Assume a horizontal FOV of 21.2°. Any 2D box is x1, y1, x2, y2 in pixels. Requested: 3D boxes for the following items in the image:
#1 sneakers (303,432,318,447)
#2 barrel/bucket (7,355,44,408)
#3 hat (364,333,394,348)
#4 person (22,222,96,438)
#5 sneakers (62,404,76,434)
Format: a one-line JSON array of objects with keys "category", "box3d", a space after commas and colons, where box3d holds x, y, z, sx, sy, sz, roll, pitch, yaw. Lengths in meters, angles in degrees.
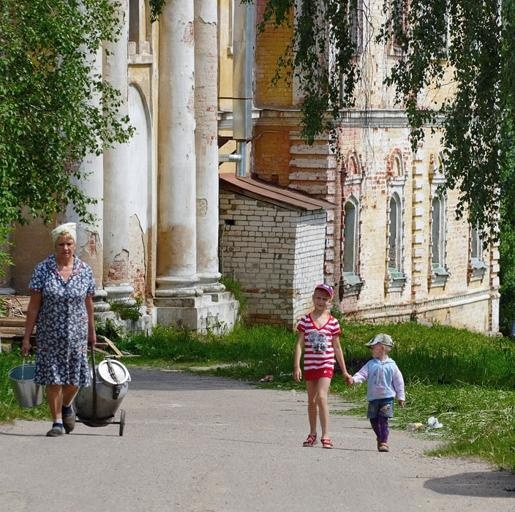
[{"category": "sneakers", "box3d": [0.475, 1.635, 12.292, 0.073, 0.105, 0.232, -1, -8, 10]}, {"category": "barrel/bucket", "box3d": [-2.080, 1.047, 12.290, 0.244, 0.509, 0.332, 2, 19, 8]}, {"category": "hat", "box3d": [1.077, 0.727, 12.084, 0.181, 0.122, 0.153, 7, -10, 6]}, {"category": "person", "box3d": [-1.682, 0.610, 11.696, 0.629, 1.589, 0.405, 0, 0, -13]}, {"category": "sneakers", "box3d": [-1.622, 1.384, 11.837, 0.074, 0.283, 0.171, -2, -1, 0]}]
